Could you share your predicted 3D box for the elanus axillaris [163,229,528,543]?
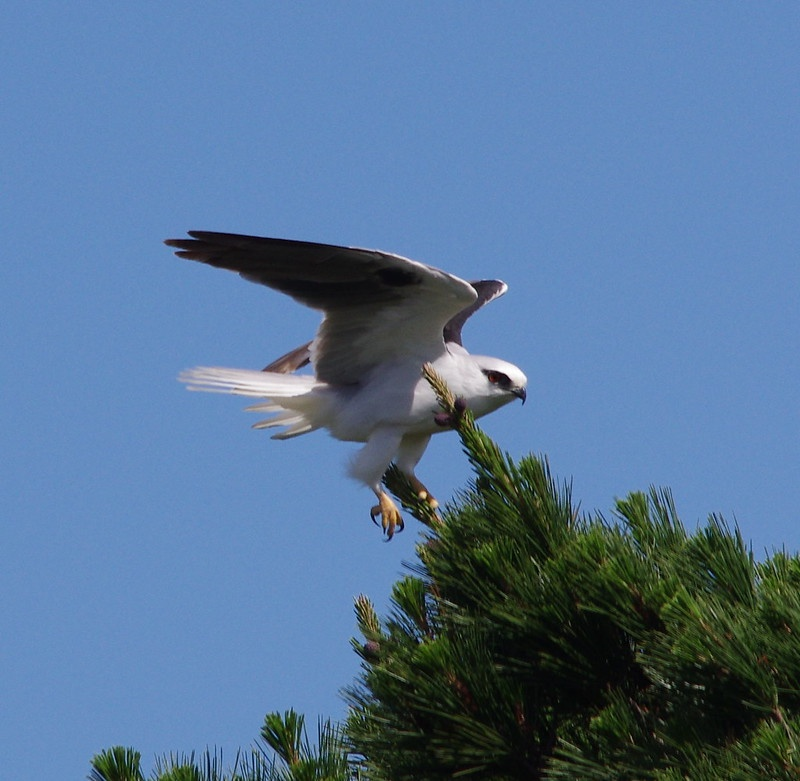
[{"bbox_3d":[-0.105,0.013,6.795,1.074,0.856,1.703,-8,-25,3],"label":"elanus axillaris"}]
